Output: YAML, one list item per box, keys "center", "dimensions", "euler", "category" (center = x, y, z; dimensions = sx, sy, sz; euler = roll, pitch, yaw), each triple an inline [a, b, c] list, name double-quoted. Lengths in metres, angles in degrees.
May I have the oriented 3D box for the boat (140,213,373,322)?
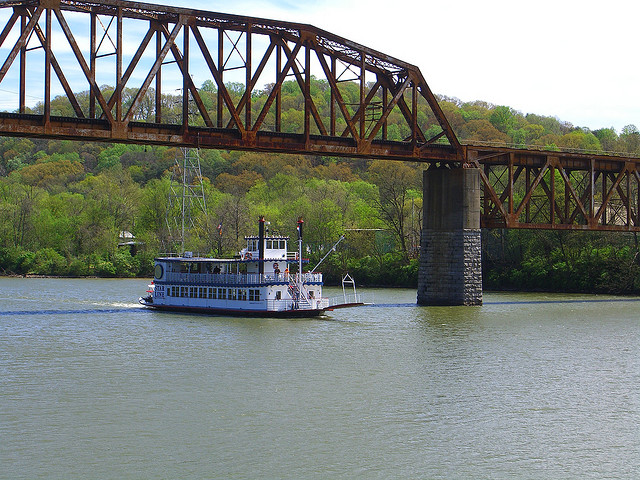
- center: [-6.931, 3.029, 108.162]
  dimensions: [22.587, 7.263, 7.257]
  euler: [-1, -4, 41]
  category: "boat"
